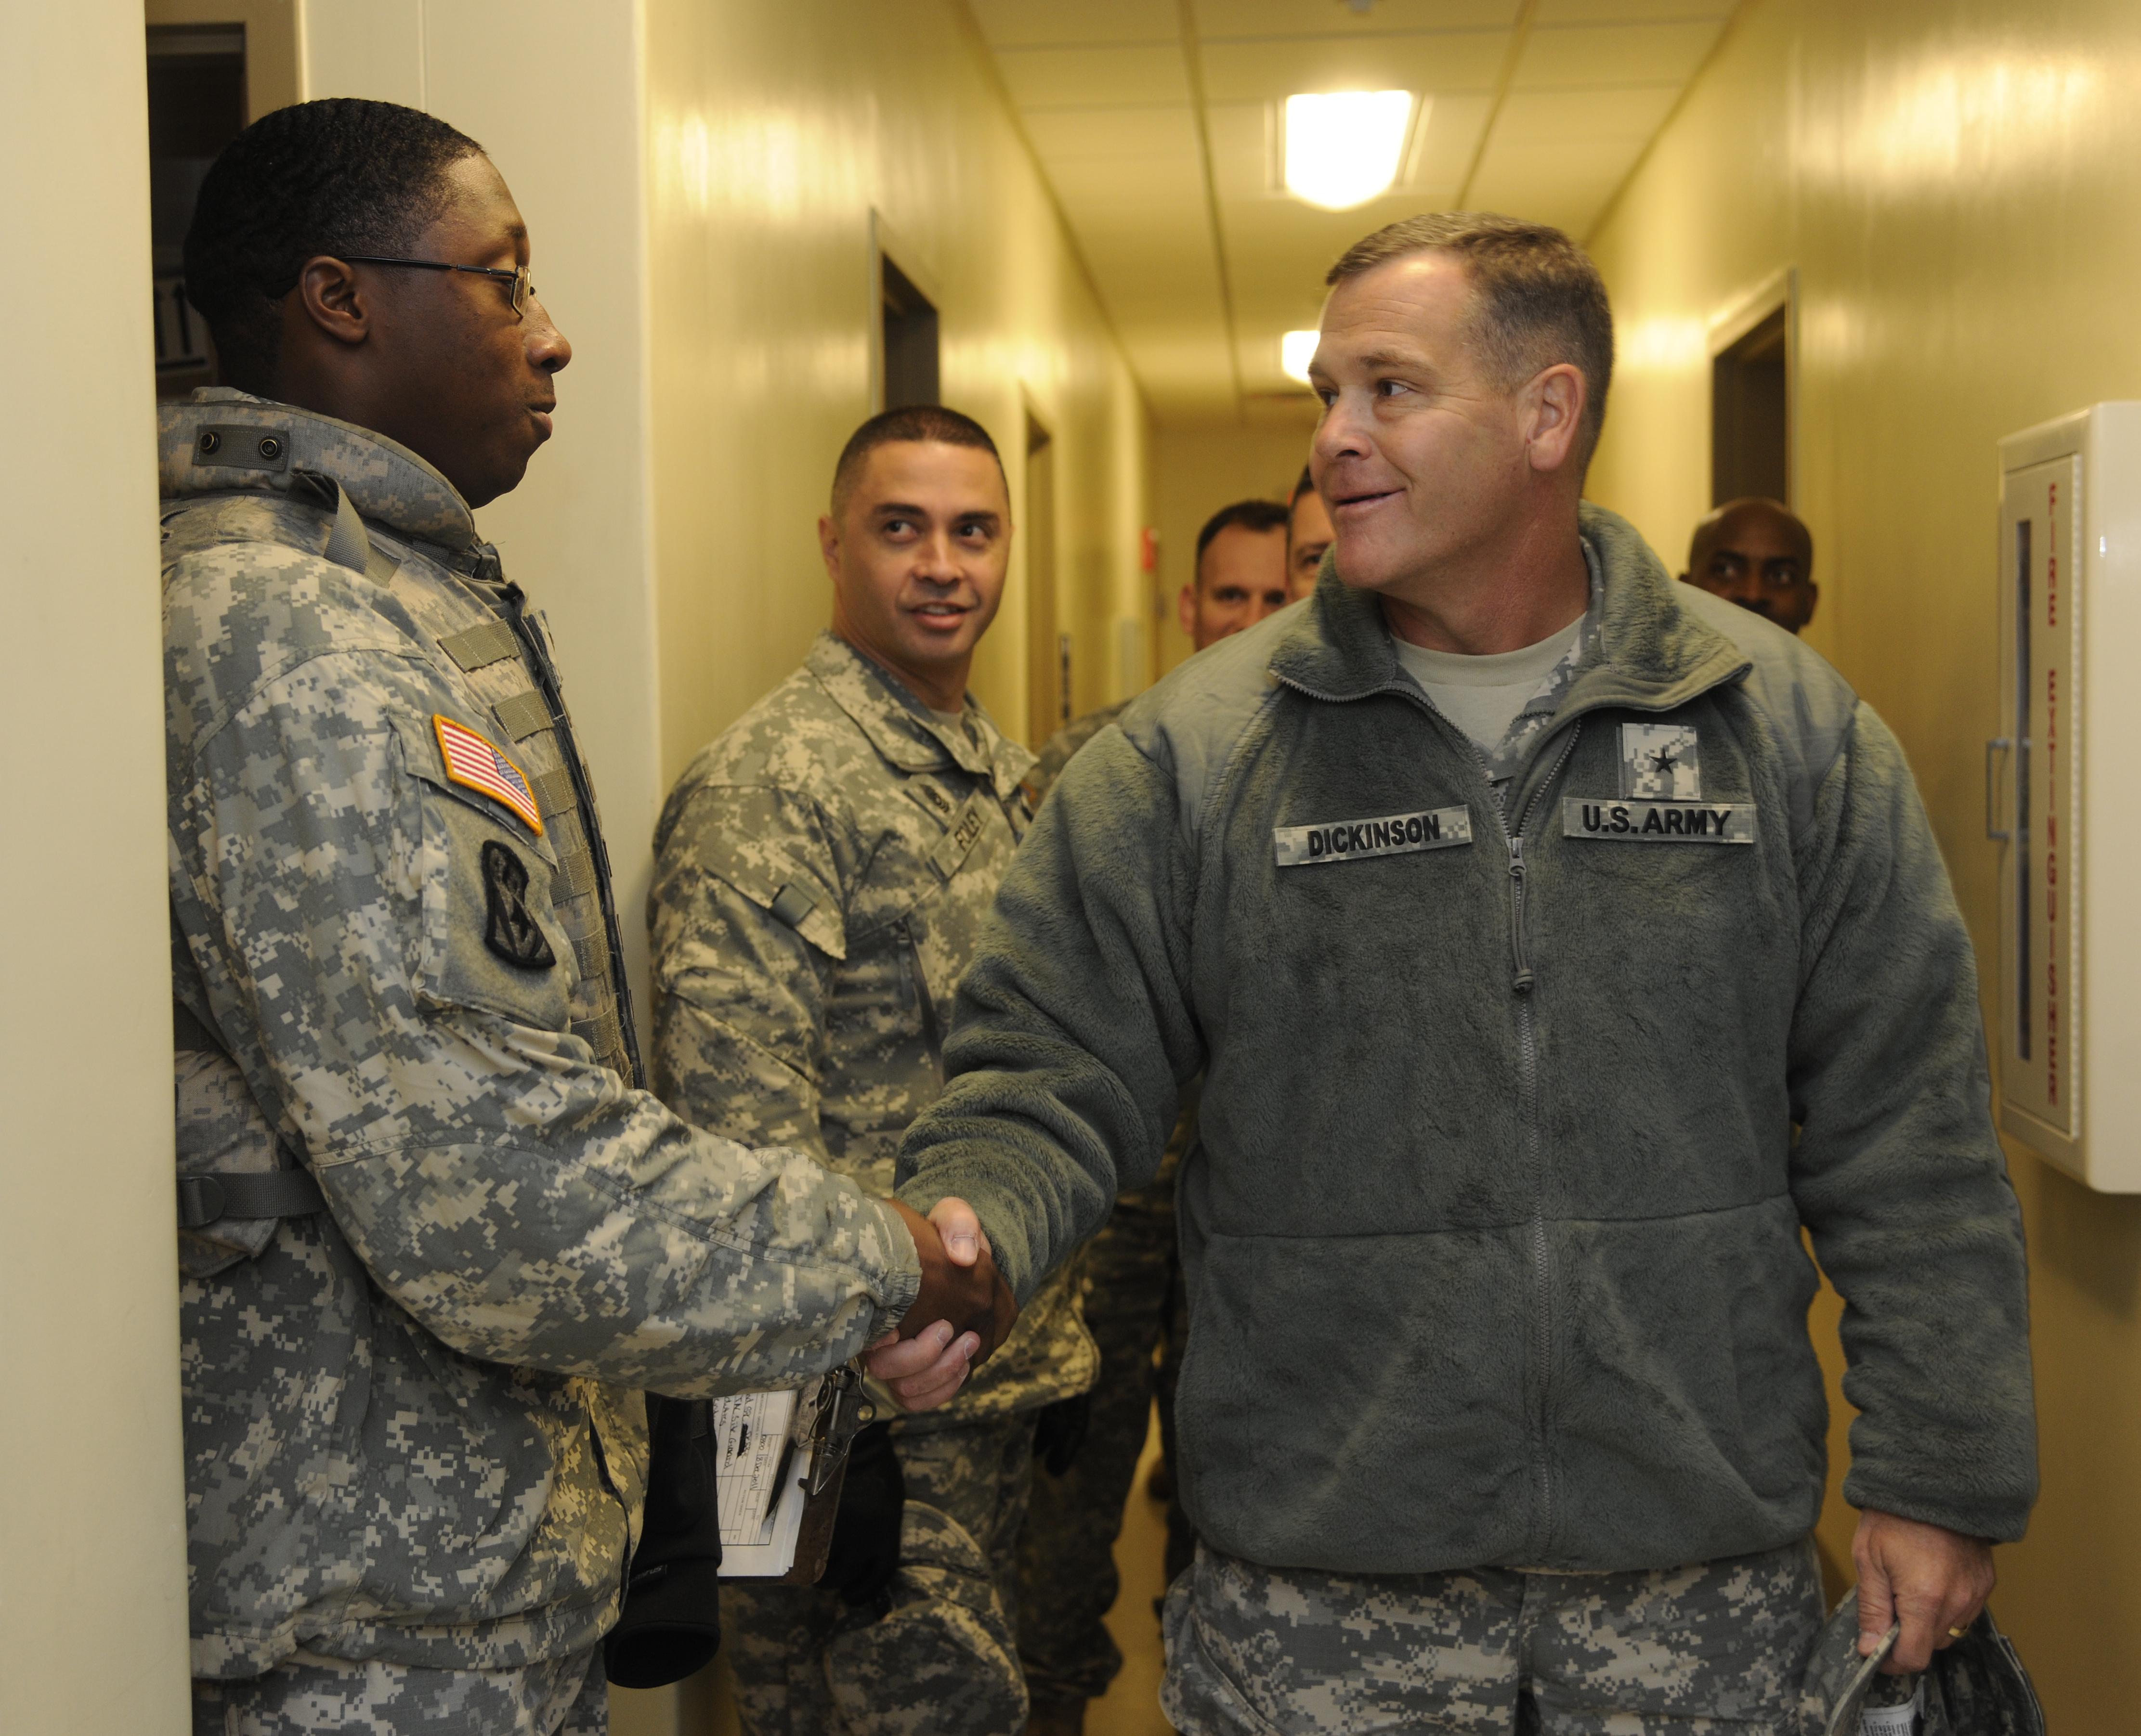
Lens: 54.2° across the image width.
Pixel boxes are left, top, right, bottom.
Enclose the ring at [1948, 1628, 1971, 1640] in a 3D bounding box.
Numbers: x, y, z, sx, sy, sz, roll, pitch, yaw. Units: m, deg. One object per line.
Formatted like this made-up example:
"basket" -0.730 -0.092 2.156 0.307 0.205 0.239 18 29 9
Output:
"ring" 0.811 0.703 1.913 0.019 0.005 0.020 -32 -10 -6
